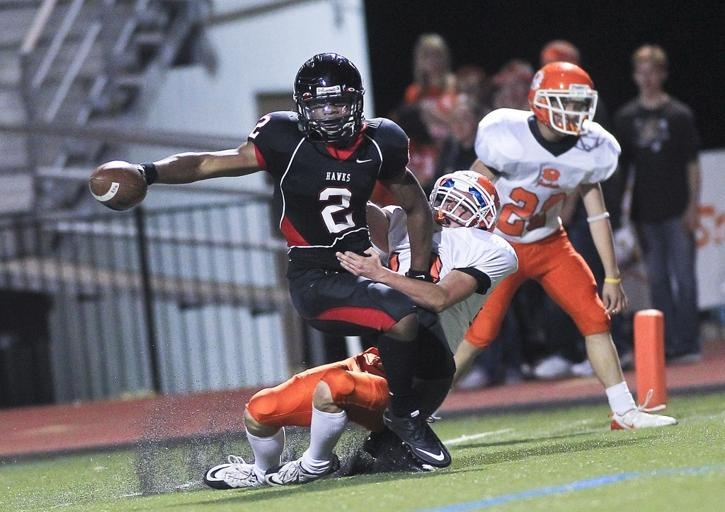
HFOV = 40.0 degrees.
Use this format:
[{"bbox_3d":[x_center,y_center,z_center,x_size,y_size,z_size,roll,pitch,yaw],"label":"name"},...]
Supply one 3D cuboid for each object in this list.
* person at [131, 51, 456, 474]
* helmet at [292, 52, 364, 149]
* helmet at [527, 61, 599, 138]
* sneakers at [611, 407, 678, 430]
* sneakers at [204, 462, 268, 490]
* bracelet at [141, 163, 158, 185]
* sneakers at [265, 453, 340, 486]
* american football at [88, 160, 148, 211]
[{"bbox_3d":[-0.184,0.061,5.381,1.174,2.227,0.400,-7,5,5],"label":"person"},{"bbox_3d":[-0.166,-0.785,5.417,0.400,0.442,0.534,-5,-7,-8],"label":"helmet"},{"bbox_3d":[1.230,-0.966,6.093,0.379,0.387,0.491,3,14,-13],"label":"helmet"},{"bbox_3d":[1.685,0.970,5.966,0.366,0.132,0.142,-7,-11,18],"label":"sneakers"},{"bbox_3d":[-0.674,1.171,5.442,0.365,0.131,0.154,-2,7,2],"label":"sneakers"},{"bbox_3d":[-1.093,-0.427,5.211,0.079,0.114,0.070,-4,-1,-10],"label":"bracelet"},{"bbox_3d":[-0.293,1.135,5.383,0.409,0.174,0.146,-4,-5,-4],"label":"sneakers"},{"bbox_3d":[-1.250,-0.381,5.246,0.323,0.259,0.245,-4,5,-25],"label":"american football"}]
